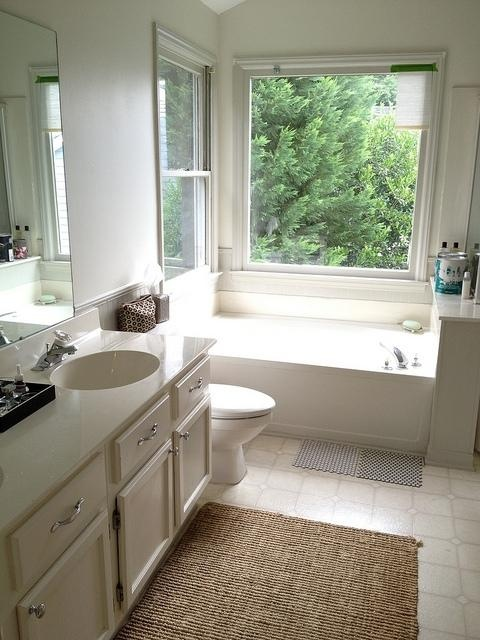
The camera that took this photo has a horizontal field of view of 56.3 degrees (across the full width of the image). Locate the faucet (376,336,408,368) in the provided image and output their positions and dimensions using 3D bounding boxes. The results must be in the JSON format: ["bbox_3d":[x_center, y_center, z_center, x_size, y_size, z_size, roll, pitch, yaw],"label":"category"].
[{"bbox_3d":[0.952,0.206,2.793,0.089,0.092,0.322,9,16,-2],"label":"faucet"}]

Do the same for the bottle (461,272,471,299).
[{"bbox_3d":[1.403,-0.218,2.757,0.042,0.160,0.122,4,10,25],"label":"bottle"}]

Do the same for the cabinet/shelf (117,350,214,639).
[{"bbox_3d":[-0.317,0.502,1.550,0.219,0.635,0.677,5,17,19],"label":"cabinet/shelf"}]

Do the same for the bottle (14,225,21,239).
[{"bbox_3d":[-0.697,-0.278,1.388,0.016,0.036,0.034,2,28,3],"label":"bottle"}]

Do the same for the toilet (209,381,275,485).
[{"bbox_3d":[-0.012,0.550,2.270,0.401,0.426,0.358,6,19,14],"label":"toilet"}]

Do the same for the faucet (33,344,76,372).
[{"bbox_3d":[-0.608,0.120,1.466,0.088,0.032,0.099,0,20,3],"label":"faucet"}]

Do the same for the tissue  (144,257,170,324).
[{"bbox_3d":[-0.478,-0.160,2.500,0.130,0.317,0.252,-2,9,-14],"label":"tissue "}]
